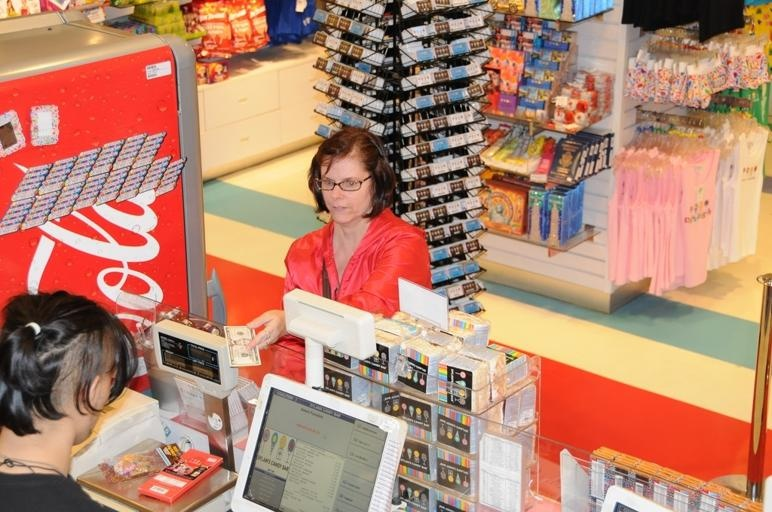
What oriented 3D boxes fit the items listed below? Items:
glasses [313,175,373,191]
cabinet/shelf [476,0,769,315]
[{"bbox_3d":[-0.201,-0.363,3.699,0.249,0.074,0.066,-2,28,-2],"label":"glasses"},{"bbox_3d":[1.890,-0.841,5.861,1.678,3.256,1.837,17,24,37],"label":"cabinet/shelf"}]
